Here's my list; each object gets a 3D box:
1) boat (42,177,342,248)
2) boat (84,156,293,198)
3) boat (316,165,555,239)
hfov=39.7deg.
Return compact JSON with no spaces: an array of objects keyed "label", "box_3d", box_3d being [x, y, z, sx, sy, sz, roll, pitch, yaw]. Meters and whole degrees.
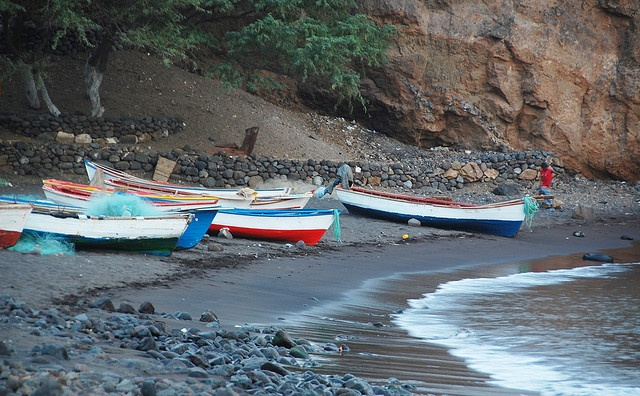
[{"label":"boat","box_3d":[-2.545,0.926,43.379,19.232,4.132,5.795,0,0,5]},{"label":"boat","box_3d":[-7.555,-0.484,43.155,14.405,2.624,4.632,0,0,-16]},{"label":"boat","box_3d":[4.923,0.072,40.825,10.323,2.365,2.194,7,6,9]}]
